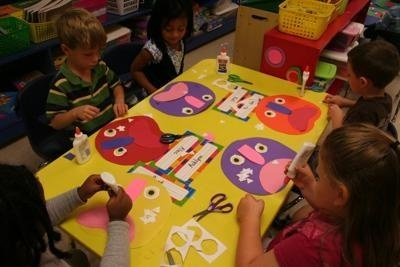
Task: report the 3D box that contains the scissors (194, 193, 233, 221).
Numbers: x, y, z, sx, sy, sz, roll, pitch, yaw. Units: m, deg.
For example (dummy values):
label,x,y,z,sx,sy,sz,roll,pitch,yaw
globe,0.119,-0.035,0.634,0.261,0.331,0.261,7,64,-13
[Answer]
label,x,y,z,sx,sy,sz,roll,pitch,yaw
scissors,0.056,0.348,1.330,0.190,0.012,0.106,-22,53,-23

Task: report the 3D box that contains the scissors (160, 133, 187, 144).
label,x,y,z,sx,sy,sz,roll,pitch,yaw
scissors,-0.156,0.028,1.600,0.119,0.025,0.053,1,35,-1

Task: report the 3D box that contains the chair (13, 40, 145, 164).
label,x,y,z,sx,sy,sz,roll,pitch,yaw
chair,-0.790,-0.203,1.940,0.351,0.396,1.074,32,59,30

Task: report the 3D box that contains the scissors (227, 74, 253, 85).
label,x,y,z,sx,sy,sz,roll,pitch,yaw
scissors,0.285,-0.370,2.036,0.143,0.021,0.072,16,63,18
